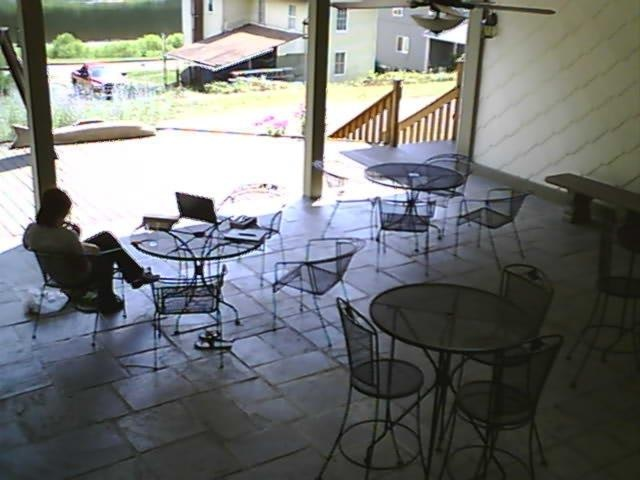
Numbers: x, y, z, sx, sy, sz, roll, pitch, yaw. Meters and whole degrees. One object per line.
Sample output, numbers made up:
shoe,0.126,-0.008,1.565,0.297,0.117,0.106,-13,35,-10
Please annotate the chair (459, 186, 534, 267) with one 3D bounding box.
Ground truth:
chair,2.450,-0.156,8.095,0.836,0.964,0.794,-29,43,-30

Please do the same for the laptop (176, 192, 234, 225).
laptop,-1.388,-0.376,6.726,0.533,0.363,0.182,14,32,21

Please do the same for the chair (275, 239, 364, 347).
chair,0.000,0.590,6.207,0.857,0.910,0.746,16,30,22

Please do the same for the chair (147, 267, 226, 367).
chair,-1.378,0.768,5.827,0.873,0.696,0.950,2,17,-3

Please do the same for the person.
person,-2.296,0.067,6.057,0.624,1.414,1.252,22,33,31

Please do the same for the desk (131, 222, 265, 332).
desk,-1.429,0.332,6.359,1.284,0.726,1.196,-9,29,-27

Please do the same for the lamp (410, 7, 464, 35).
lamp,1.179,-2.169,5.730,0.537,0.181,0.342,-1,18,16

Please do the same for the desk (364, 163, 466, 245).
desk,1.165,-0.608,7.632,1.310,0.833,1.183,8,30,11
